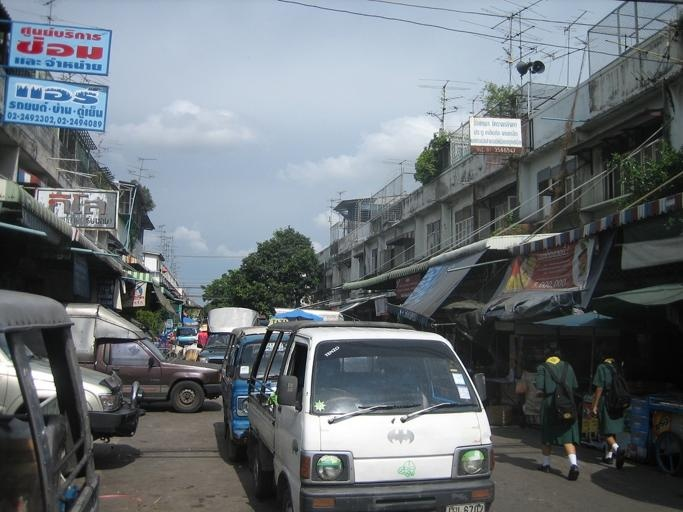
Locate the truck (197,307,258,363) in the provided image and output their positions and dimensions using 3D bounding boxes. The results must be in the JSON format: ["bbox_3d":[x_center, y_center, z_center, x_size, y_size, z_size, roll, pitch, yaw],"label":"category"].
[{"bbox_3d":[-4.226,2.720,25.871,1.775,1.962,3.195,1,-10,-8],"label":"truck"}]

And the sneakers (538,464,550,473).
[{"bbox_3d":[3.305,3.471,11.526,0.087,0.094,0.212,1,-3,-2],"label":"sneakers"}]

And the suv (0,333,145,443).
[{"bbox_3d":[-4.301,1.998,10.688,2.331,1.228,1.466,2,-5,-10],"label":"suv"}]

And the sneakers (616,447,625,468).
[{"bbox_3d":[4.657,3.355,11.788,0.121,0.366,0.147,0,3,13],"label":"sneakers"}]

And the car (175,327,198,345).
[{"bbox_3d":[-9.373,4.836,42.423,1.089,1.099,2.145,1,3,-14],"label":"car"}]

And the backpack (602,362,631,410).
[{"bbox_3d":[4.704,2.222,12.003,0.592,0.849,0.286,5,-6,-31],"label":"backpack"}]

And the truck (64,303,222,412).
[{"bbox_3d":[-4.622,2.390,16.759,3.623,2.325,2.077,1,-2,-13],"label":"truck"}]
